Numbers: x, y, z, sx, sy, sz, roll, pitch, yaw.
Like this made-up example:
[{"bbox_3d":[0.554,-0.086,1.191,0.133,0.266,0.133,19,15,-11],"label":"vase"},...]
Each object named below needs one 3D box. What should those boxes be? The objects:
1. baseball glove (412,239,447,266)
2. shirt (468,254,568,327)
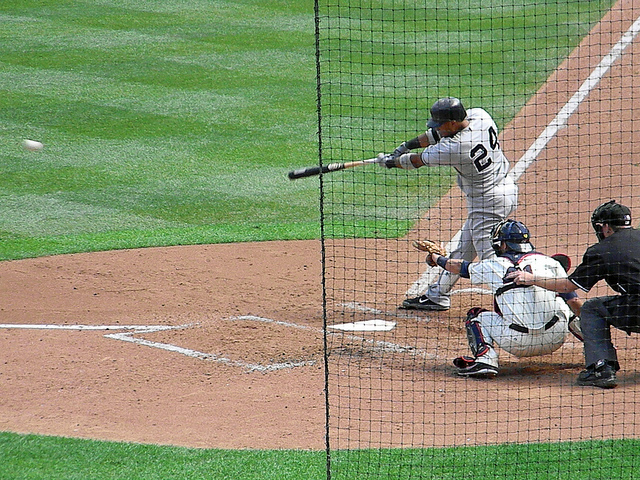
[{"bbox_3d":[1.553,0.105,17.466,0.424,0.326,0.133,27,27,22],"label":"baseball glove"},{"bbox_3d":[2.547,0.656,16.936,1.166,0.944,0.402,5,6,6],"label":"shirt"}]
